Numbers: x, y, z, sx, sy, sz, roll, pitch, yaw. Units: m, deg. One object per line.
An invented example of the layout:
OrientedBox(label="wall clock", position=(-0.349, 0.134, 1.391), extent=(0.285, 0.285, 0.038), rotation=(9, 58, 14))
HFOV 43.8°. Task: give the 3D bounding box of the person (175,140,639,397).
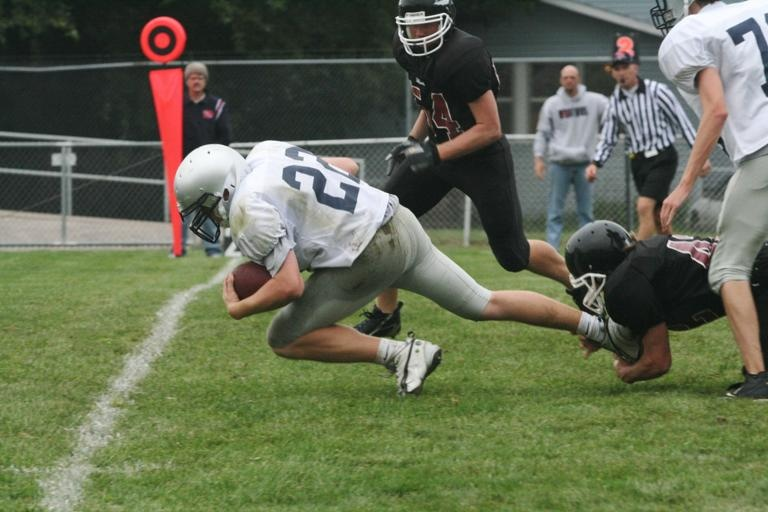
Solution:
OrientedBox(label="person", position=(0.088, 0.030, 6.055), extent=(2.891, 1.334, 1.040), rotation=(2, 17, 8))

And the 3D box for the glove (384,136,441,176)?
OrientedBox(label="glove", position=(0.188, -0.667, 6.442), extent=(0.231, 0.130, 0.368), rotation=(-48, 5, -33))

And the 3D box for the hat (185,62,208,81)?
OrientedBox(label="hat", position=(-2.053, -2.025, 10.423), extent=(0.230, 0.151, 0.217), rotation=(-1, 2, -15))

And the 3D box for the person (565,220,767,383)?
OrientedBox(label="person", position=(1.683, 0.216, 5.954), extent=(1.525, 0.682, 0.728), rotation=(-13, 24, 30))

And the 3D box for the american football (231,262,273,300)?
OrientedBox(label="american football", position=(-0.833, 0.135, 5.943), extent=(0.303, 0.218, 0.394), rotation=(-3, 3, -18))
